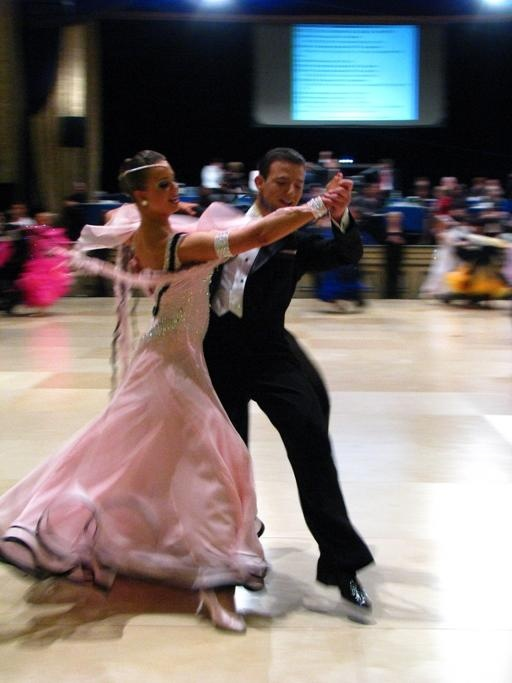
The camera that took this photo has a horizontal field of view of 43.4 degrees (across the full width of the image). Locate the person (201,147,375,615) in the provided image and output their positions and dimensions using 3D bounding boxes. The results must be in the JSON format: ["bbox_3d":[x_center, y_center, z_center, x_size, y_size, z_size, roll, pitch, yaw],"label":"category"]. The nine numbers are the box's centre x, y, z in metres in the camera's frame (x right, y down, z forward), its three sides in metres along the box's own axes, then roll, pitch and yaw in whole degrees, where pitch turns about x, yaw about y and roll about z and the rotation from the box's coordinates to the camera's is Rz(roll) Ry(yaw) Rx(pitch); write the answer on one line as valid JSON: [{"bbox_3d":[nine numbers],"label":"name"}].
[{"bbox_3d":[0.150,0.071,1.745,0.594,1.192,0.305,10,13,41],"label":"person"}]
